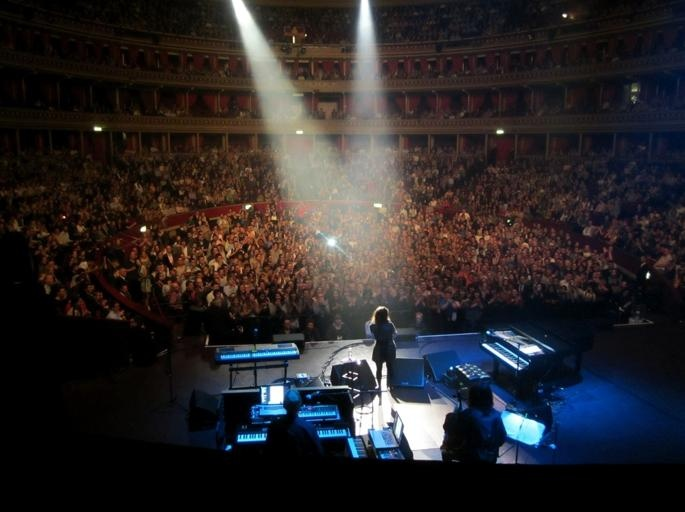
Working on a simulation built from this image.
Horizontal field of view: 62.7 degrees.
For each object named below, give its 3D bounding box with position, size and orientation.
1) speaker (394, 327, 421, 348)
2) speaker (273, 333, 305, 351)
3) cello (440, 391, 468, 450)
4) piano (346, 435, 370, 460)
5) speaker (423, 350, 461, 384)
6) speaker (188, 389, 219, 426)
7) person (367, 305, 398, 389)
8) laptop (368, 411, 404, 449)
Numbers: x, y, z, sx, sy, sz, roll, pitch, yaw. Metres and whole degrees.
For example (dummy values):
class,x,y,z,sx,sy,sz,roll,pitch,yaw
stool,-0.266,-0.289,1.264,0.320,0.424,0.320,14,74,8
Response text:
class,x,y,z,sx,sy,sz,roll,pitch,yaw
speaker,1.616,2.068,14.262,0.560,0.412,0.633,-1,8,0
speaker,-1.223,1.938,12.860,0.625,0.373,0.638,3,-17,-8
cello,1.859,2.744,9.334,0.382,1.158,0.681,6,6,15
piano,0.250,3.141,9.284,0.349,0.318,0.410,4,-19,-20
speaker,2.216,2.387,12.474,0.703,0.579,0.587,-8,11,-15
speaker,-2.651,2.907,10.726,0.620,0.490,0.673,10,31,-20
person,0.880,1.952,12.115,0.565,1.876,0.497,-7,20,-13
laptop,0.740,2.931,9.349,0.368,0.361,0.536,3,10,-7
